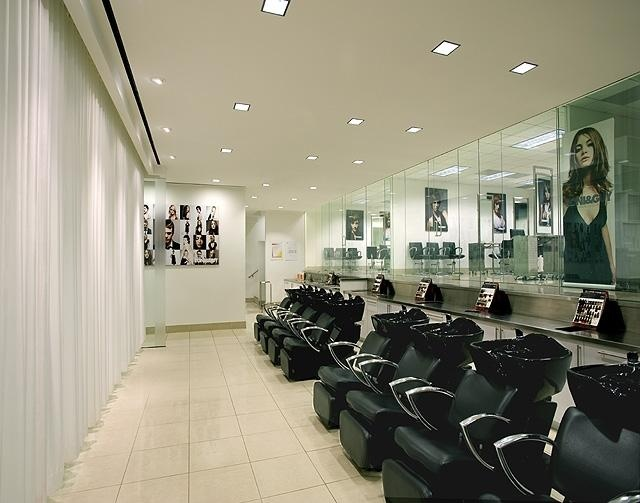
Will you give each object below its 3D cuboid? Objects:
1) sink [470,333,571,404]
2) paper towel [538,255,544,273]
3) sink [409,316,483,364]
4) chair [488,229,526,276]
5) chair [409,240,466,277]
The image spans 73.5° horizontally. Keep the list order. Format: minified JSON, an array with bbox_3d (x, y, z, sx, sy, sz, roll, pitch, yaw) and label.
[{"bbox_3d":[1.459,0.857,3.159,0.642,0.432,0.520,2,4,43],"label":"sink"},{"bbox_3d":[2.827,0.160,5.515,0.014,0.227,0.105,-1,3,-15],"label":"paper towel"},{"bbox_3d":[1.178,0.779,3.912,0.534,0.280,0.413,-6,7,-42],"label":"sink"},{"bbox_3d":[2.685,0.025,6.217,0.441,0.828,0.513,4,-7,0],"label":"chair"},{"bbox_3d":[2.018,-0.026,7.564,0.802,0.566,0.494,1,-23,17],"label":"chair"}]
